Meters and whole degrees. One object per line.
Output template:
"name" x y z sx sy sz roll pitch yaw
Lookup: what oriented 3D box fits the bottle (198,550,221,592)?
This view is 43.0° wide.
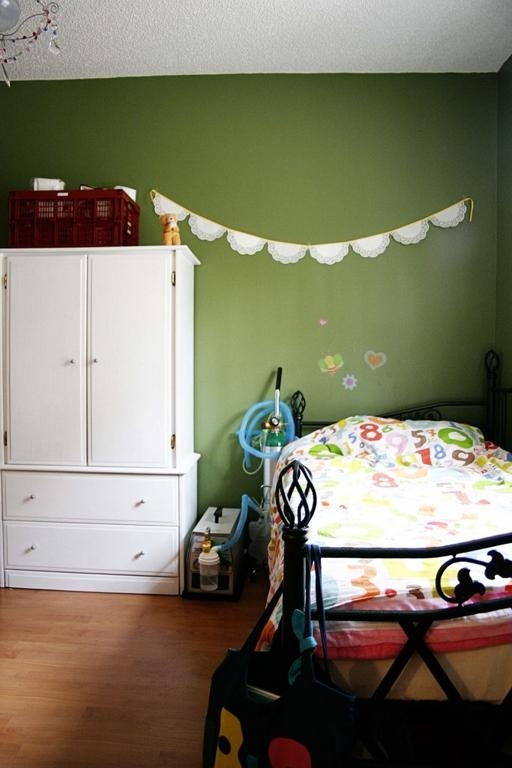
"bottle" -0.194 0.772 2.659 0.090 0.183 0.064 -1 9 -5

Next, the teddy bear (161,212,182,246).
"teddy bear" -0.378 -0.670 2.830 0.077 0.135 0.207 -1 9 -8
